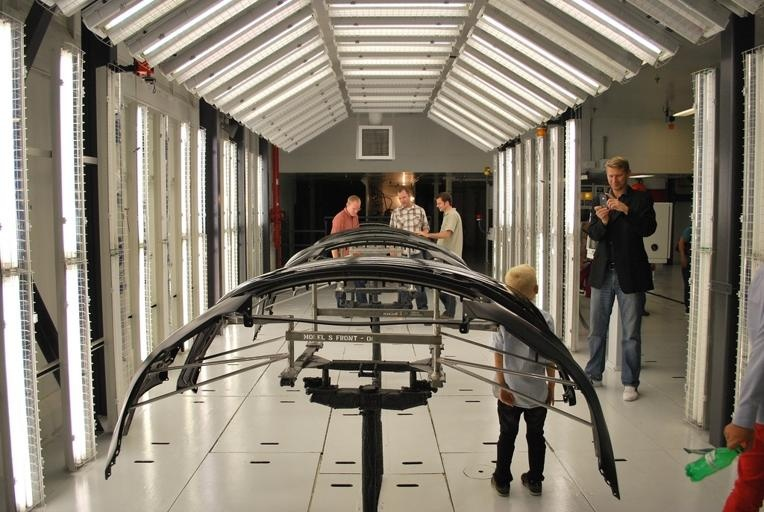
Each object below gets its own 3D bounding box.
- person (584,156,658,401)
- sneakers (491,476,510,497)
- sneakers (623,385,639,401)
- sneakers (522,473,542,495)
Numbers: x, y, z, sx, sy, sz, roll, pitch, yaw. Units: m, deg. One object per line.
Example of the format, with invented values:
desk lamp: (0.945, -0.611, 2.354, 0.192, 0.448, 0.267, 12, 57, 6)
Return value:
person: (2.428, 0.225, 6.599, 0.664, 1.812, 0.601, 5, 3, 23)
sneakers: (0.923, 1.795, 4.966, 0.071, 0.090, 0.200, 0, 4, 1)
sneakers: (2.551, 1.401, 6.537, 0.263, 0.111, 0.135, 2, 5, -31)
sneakers: (1.169, 1.789, 5.000, 0.072, 0.091, 0.206, 0, 7, -1)
